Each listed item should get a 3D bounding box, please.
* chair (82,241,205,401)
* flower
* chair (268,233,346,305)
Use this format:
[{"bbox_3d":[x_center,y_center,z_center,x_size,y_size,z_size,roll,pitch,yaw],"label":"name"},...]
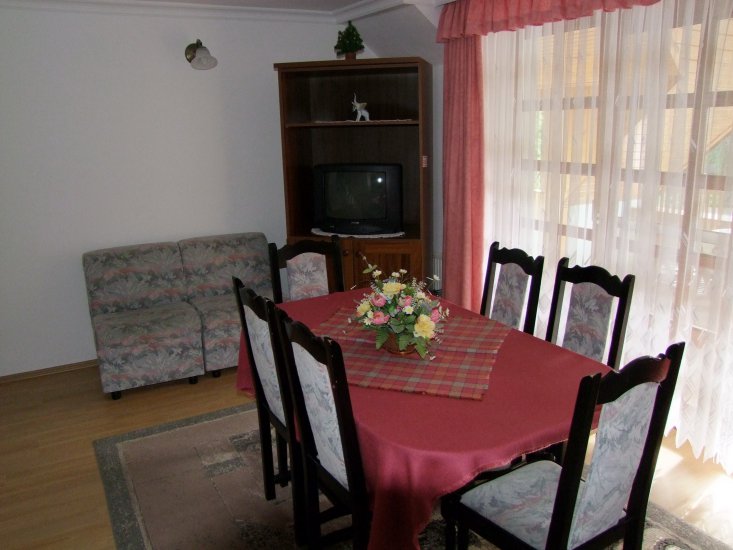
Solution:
[{"bbox_3d":[-1.815,0.335,4.502,0.774,1.047,0.803,-11,16,-27],"label":"chair"},{"bbox_3d":[0.132,0.154,2.914,0.504,0.389,0.474,9,14,21],"label":"flower"},{"bbox_3d":[-0.419,-0.045,4.042,0.399,0.761,0.426,-10,18,-29],"label":"chair"}]
